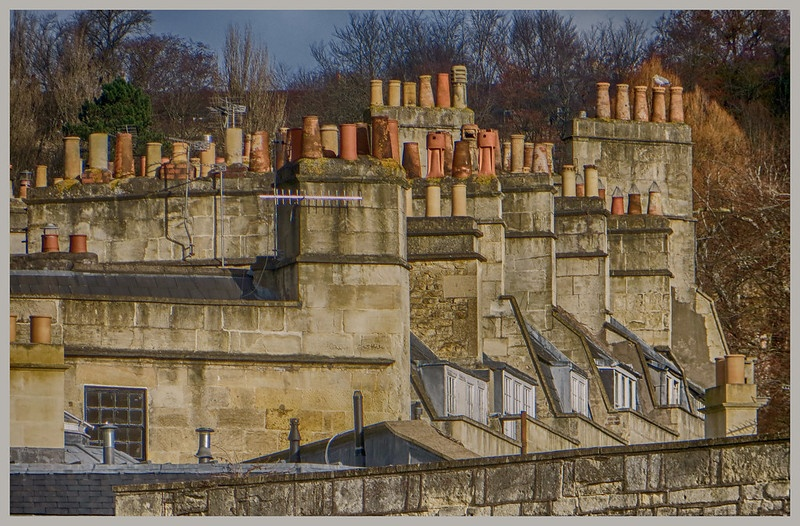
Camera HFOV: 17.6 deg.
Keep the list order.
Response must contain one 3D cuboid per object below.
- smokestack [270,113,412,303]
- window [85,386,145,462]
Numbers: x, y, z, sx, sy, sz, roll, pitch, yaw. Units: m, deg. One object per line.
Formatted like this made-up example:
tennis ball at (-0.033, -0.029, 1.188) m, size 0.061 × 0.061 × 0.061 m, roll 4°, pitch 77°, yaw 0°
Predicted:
smokestack at (-1.233, -1.117, 66.731) m, size 4.672 × 6.372 × 4.172 m, roll 0°, pitch -5°, yaw -5°
window at (-7.042, 4.070, 63.039) m, size 1.795 × 2.239 × 0.080 m, roll 0°, pitch -11°, yaw -7°
